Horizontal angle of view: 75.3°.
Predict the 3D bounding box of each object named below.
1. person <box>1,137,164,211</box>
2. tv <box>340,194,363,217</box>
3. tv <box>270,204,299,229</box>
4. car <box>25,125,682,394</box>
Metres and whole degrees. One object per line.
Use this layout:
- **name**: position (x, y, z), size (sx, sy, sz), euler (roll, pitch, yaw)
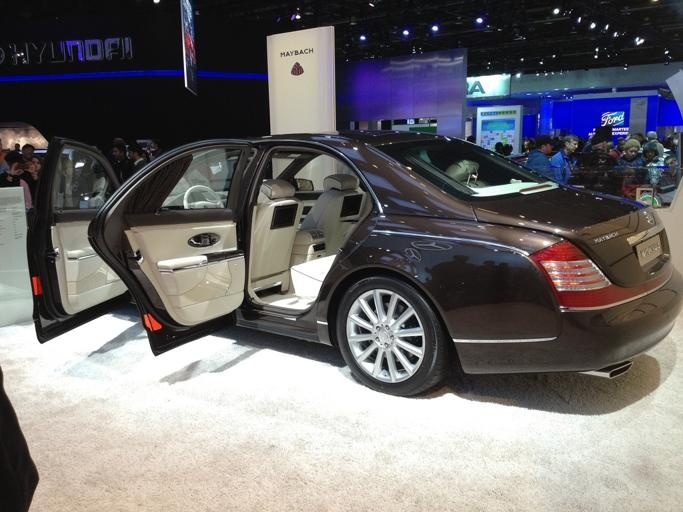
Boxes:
- **person**: position (-2.202, -0.675, 3.729), size (0.906, 0.339, 0.509), euler (10, 22, 15)
- **tv**: position (0.093, -0.469, 4.046), size (0.244, 0.192, 0.063), euler (-4, 32, -44)
- **tv**: position (-0.471, -0.327, 3.559), size (0.019, 0.145, 0.243), euler (27, 21, 28)
- **car**: position (-0.144, -0.053, 3.082), size (3.632, 0.956, 2.470), euler (10, 17, 31)
